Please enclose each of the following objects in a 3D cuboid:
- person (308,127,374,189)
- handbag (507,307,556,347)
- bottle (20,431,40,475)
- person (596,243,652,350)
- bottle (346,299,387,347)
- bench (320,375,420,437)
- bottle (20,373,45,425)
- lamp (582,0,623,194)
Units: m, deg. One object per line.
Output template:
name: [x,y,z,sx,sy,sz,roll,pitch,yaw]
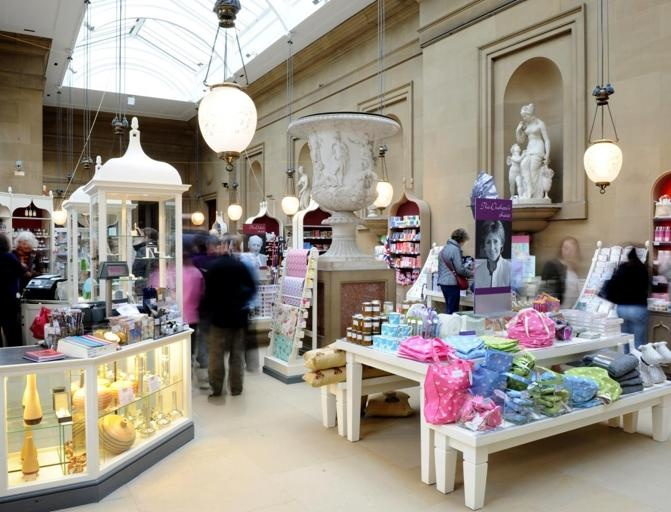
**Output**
person: [0.082,-1.208,6.803,0.673,0.726,0.712,1,5,18]
handbag: [1.765,0.622,4.766,0.304,0.182,0.378,0,1,5]
bottle: [-2.293,1.478,3.985,0.114,0.330,0.062,-7,11,-35]
person: [3.634,0.486,6.616,0.468,1.098,0.573,-6,10,-30]
bottle: [0.247,0.634,5.069,0.302,0.438,0.415,3,-5,-15]
bench: [0.189,1.359,5.110,0.755,0.395,0.541,0,-9,-25]
bottle: [-2.281,1.085,3.998,0.126,0.369,0.068,-7,11,-35]
lamp: [3.406,-2.058,6.672,0.451,2.582,1.623,4,10,25]
